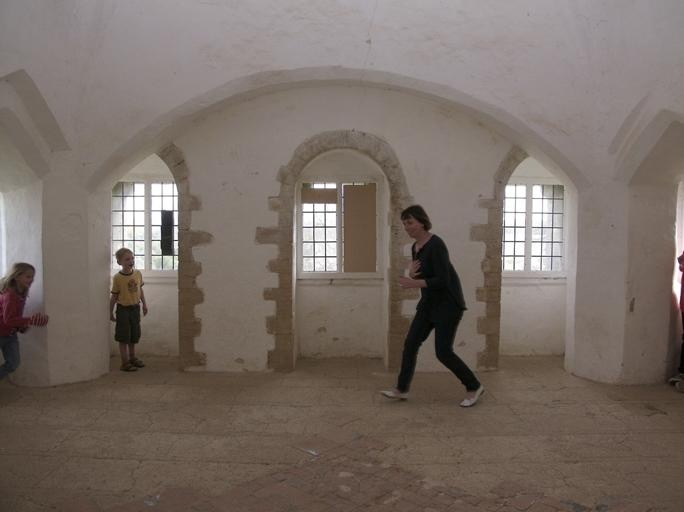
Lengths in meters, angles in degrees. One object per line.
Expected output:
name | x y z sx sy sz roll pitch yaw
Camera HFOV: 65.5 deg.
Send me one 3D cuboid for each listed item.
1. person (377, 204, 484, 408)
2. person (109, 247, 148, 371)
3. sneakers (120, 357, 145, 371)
person | 1.017 0.574 5.992 1.003 1.537 0.592 -1 -1 4
person | -2.959 0.740 7.455 0.456 1.674 0.716 -1 -1 -22
sneakers | -2.858 1.501 7.330 0.212 0.077 0.150 -4 1 24
